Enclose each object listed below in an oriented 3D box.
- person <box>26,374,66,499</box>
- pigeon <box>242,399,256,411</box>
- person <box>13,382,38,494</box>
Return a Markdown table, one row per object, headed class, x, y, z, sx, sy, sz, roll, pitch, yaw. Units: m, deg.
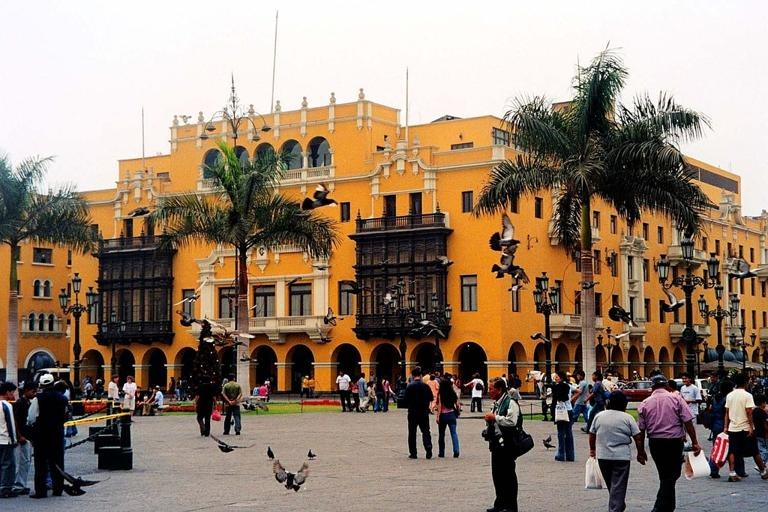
| class | x | y | z | sx | sy | sz | roll | pitch | yaw |
| --- | --- | --- | --- | --- | --- | --- | --- | --- | --- |
| person | -10.022 | 5.415 | 40.394 | 1.149 | 3.138 | 1.042 | 1 | 1 | -44 |
| pigeon | -6.676 | 7.360 | 66.336 | 0.512 | 0.251 | 0.689 | 5 | 6 | -26 |
| person | -10.932 | 5.600 | 40.815 | 0.862 | 3.099 | 1.000 | 2 | -8 | -11 |
